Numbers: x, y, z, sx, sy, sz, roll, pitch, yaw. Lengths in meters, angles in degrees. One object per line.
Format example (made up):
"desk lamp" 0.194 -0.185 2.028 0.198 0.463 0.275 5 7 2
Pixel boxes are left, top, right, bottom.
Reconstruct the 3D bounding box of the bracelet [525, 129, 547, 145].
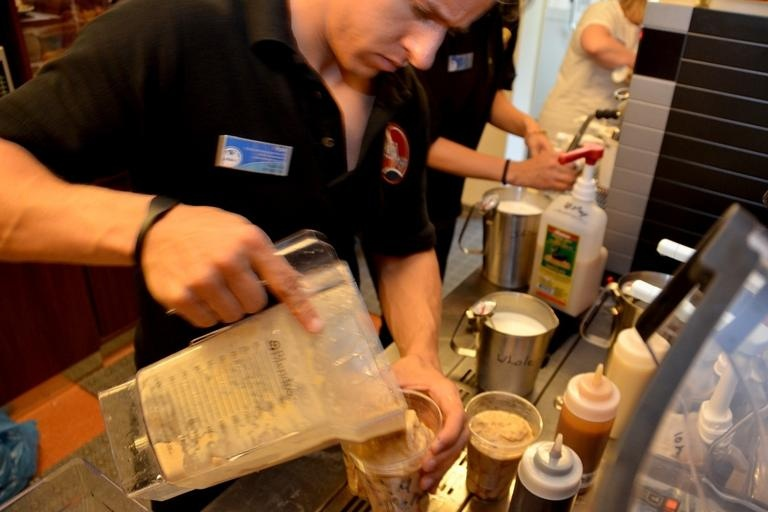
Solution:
"bracelet" 0.633 -0.511 2.359 0.052 0.064 0.070 10 55 26

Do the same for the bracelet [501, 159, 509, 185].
"bracelet" 0.492 -0.346 2.276 0.032 0.081 0.085 8 35 11

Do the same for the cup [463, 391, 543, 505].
"cup" 0.225 0.388 1.248 0.198 0.220 0.202 0 36 0

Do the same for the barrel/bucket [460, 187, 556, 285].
"barrel/bucket" 0.403 -0.110 1.894 0.370 0.360 0.235 0 37 13

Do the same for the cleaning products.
"cleaning products" 0.551 -0.075 1.626 0.200 0.473 0.152 27 42 34

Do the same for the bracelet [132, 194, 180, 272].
"bracelet" -0.428 -0.044 1.036 0.031 0.114 0.111 23 51 -2
